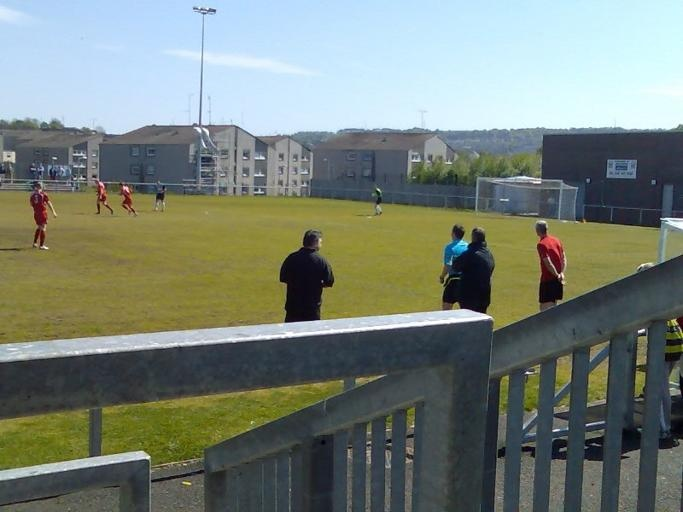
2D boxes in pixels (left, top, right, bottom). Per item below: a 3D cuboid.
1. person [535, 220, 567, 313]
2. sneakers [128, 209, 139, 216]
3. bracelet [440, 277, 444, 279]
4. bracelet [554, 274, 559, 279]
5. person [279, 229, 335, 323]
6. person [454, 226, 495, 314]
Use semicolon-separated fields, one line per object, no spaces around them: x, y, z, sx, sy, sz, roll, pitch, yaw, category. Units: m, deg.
3.686;0.175;24.358;0.485;1.630;0.962;1;7;8;person
-7.352;-1.567;48.372;0.259;0.118;0.349;-3;-40;34;sneakers
1.730;0.376;23.894;0.052;0.076;0.050;-2;-1;35;bracelet
3.769;0.341;24.145;0.059;0.061;0.015;38;13;26;bracelet
-0.549;0.324;21.479;0.817;1.423;0.663;0;7;-2;person
2.222;0.235;22.815;0.640;1.392;0.668;-1;7;-11;person
